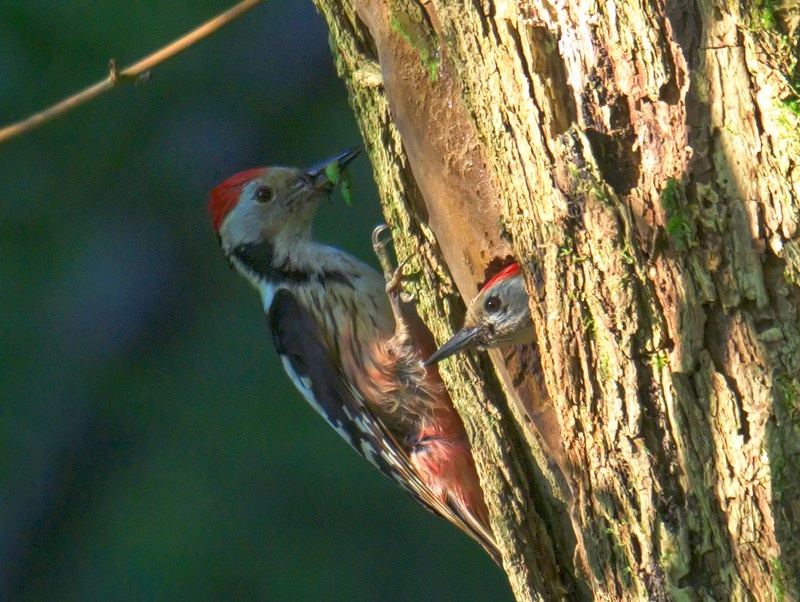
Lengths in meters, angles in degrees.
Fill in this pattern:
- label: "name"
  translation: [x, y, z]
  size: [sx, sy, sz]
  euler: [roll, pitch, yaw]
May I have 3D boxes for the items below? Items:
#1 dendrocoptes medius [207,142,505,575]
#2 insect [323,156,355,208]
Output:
- label: "dendrocoptes medius"
  translation: [-0.190, 0.135, 4.904]
  size: [0.438, 1.350, 1.386]
  euler: [-20, 21, -37]
- label: "insect"
  translation: [-0.231, -0.505, 4.825]
  size: [0.047, 0.196, 0.097]
  euler: [-27, -3, -34]
